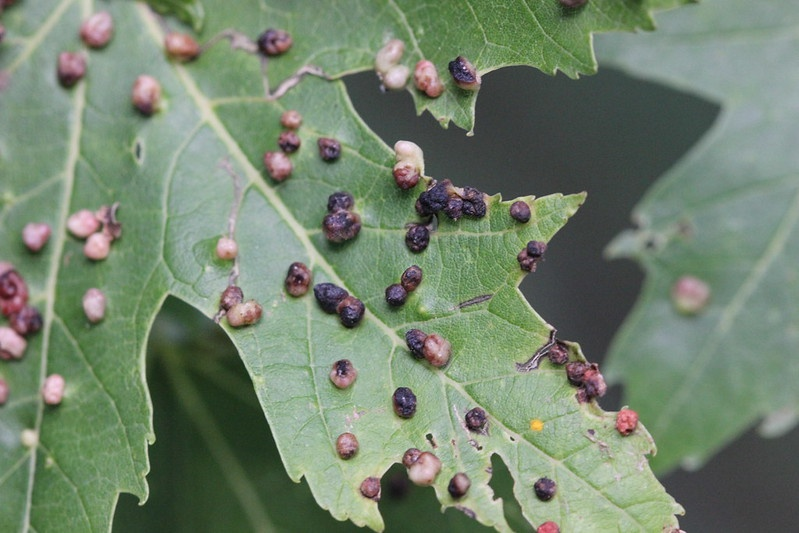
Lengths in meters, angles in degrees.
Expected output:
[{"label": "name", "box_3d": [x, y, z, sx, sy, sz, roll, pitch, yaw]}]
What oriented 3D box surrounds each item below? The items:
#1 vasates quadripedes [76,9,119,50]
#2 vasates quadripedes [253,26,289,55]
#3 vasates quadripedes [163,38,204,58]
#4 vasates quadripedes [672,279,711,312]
[{"label": "vasates quadripedes", "box_3d": [-0.692, -0.535, 2.201, 0.062, 0.037, 0.088, 20, 82, -11]}, {"label": "vasates quadripedes", "box_3d": [-0.298, -0.508, 2.165, 0.059, 0.026, 0.058, -5, 96, -4]}, {"label": "vasates quadripedes", "box_3d": [-0.498, -0.498, 2.195, 0.058, 0.035, 0.050, 10, 96, -2]}, {"label": "vasates quadripedes", "box_3d": [0.720, 0.075, 2.385, 0.088, 0.050, 0.073, 21, 65, 19]}]
